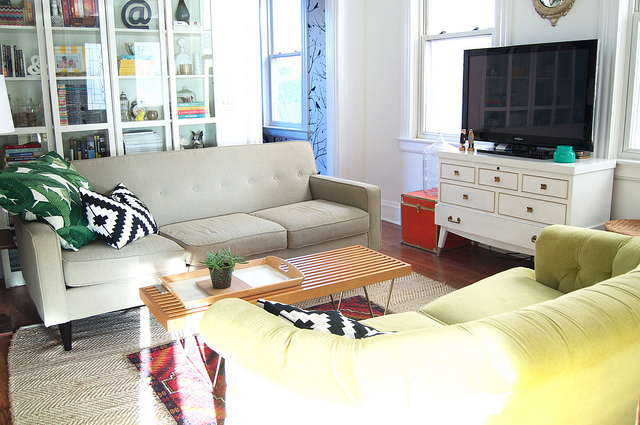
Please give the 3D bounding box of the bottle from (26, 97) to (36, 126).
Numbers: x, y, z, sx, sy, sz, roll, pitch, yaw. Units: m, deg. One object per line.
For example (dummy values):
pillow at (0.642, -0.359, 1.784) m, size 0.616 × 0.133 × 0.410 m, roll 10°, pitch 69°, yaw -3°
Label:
bottle at (-2.423, -0.850, 3.684) m, size 0.079 × 0.229 × 0.028 m, roll -13°, pitch 13°, yaw -32°

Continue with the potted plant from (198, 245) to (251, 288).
potted plant at (-0.583, 0.318, 2.668) m, size 0.288 × 0.180 × 0.283 m, roll -6°, pitch 12°, yaw -34°

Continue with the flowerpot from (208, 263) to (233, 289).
flowerpot at (-0.570, 0.366, 2.522) m, size 0.138 × 0.109 × 0.148 m, roll 0°, pitch 9°, yaw -9°

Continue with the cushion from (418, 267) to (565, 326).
cushion at (0.917, 0.446, 2.322) m, size 0.457 × 0.104 × 0.330 m, roll -18°, pitch 19°, yaw -20°

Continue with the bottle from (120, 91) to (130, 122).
bottle at (-1.781, -0.952, 4.003) m, size 0.082 × 0.246 × 0.010 m, roll -14°, pitch 13°, yaw -34°

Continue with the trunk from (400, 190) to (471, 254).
trunk at (1.208, 0.087, 4.607) m, size 0.612 × 0.543 × 0.478 m, roll -4°, pitch 10°, yaw -39°

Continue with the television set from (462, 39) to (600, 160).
television set at (1.777, -0.962, 3.805) m, size 1.266 × 0.919 × 0.319 m, roll -4°, pitch 14°, yaw -10°

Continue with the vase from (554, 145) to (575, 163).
vase at (1.962, -0.465, 3.480) m, size 0.207 × 0.128 × 0.120 m, roll -10°, pitch 11°, yaw -22°

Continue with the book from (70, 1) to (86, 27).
book at (-2.056, -1.690, 3.732) m, size 0.123 × 0.206 × 0.018 m, roll -14°, pitch 14°, yaw -36°

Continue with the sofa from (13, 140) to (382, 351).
sofa at (-0.936, 0.222, 3.016) m, size 1.536 × 0.647 × 0.670 m, roll -9°, pitch 14°, yaw -34°

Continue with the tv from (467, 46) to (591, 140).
tv at (1.783, -1.015, 3.795) m, size 0.057 × 0.843 × 1.290 m, roll -18°, pitch 21°, yaw -23°

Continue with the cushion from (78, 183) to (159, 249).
cushion at (-1.428, 0.020, 3.048) m, size 0.140 × 0.424 × 0.438 m, roll -31°, pitch 1°, yaw 23°
